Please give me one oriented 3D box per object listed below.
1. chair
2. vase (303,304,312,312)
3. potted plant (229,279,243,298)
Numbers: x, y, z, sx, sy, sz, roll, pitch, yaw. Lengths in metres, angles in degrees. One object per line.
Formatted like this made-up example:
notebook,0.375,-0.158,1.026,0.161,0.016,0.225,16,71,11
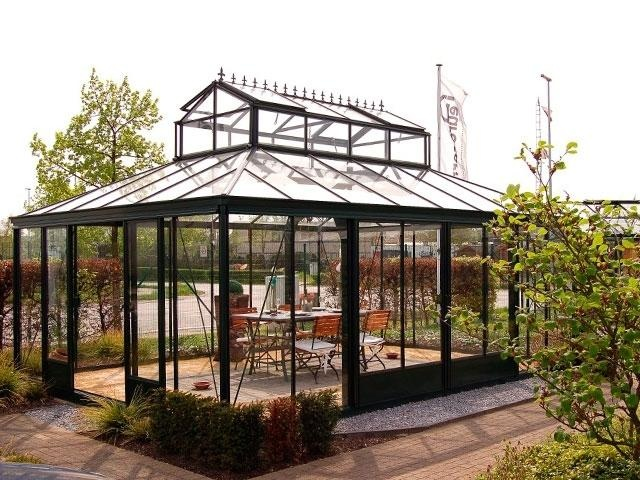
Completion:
chair,-0.143,1.764,11.385,2.716,1.439,1.833,-2,2,-37
vase,-0.229,1.207,11.930,0.136,0.156,0.158,6,15,3
potted plant,-1.256,0.724,9.900,0.225,0.084,0.231,-8,-22,0
